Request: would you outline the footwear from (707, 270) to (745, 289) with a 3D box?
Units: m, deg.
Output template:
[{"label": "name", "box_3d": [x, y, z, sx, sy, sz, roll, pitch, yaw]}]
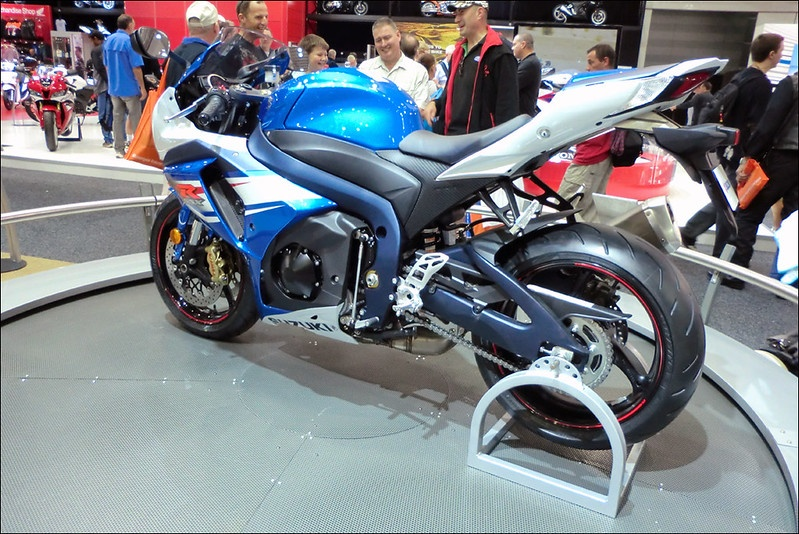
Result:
[{"label": "footwear", "box_3d": [2.168, 0.092, 3.274, 0.065, 0.078, 0.186, -19, 33, -34]}]

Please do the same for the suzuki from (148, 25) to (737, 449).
[{"label": "suzuki", "box_3d": [-0.110, -0.451, 3.283, 3.679, 1.939, 1.355, 13, 17, 23]}]

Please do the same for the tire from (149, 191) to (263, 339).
[{"label": "tire", "box_3d": [-1.118, -0.011, 2.847, 0.668, 0.731, 0.147, 26, 22, 25]}]

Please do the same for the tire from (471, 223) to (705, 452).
[{"label": "tire", "box_3d": [0.805, 0.330, 2.194, 0.908, 0.963, 0.291, 16, 5, 24]}]
